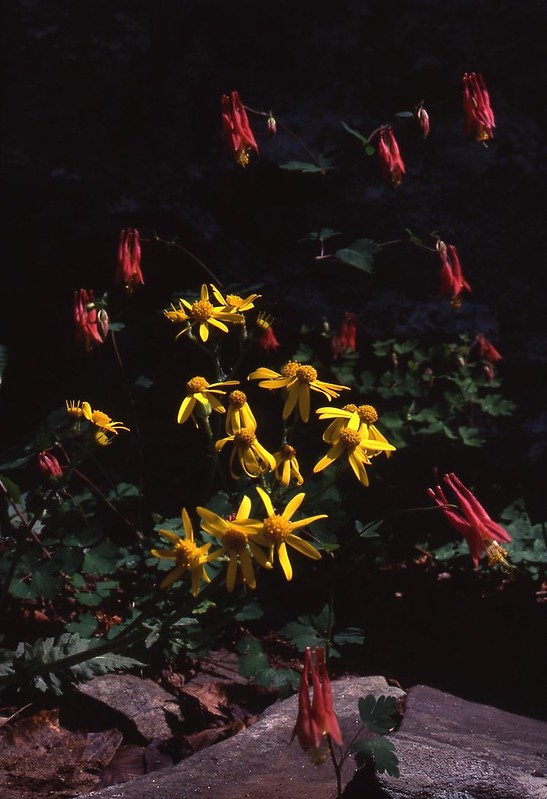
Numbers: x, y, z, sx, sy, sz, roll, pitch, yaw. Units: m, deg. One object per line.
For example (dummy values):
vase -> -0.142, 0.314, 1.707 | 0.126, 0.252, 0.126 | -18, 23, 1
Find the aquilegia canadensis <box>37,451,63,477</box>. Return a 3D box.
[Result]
aquilegia canadensis -> -1.046, 0.307, 3.701 | 0.102, 0.123, 0.184 | -2, -4, -4

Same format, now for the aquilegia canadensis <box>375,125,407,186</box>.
aquilegia canadensis -> 0.574, -1.182, 3.864 | 0.102, 0.259, 0.193 | -3, -4, 13

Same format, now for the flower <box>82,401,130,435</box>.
flower -> -0.860, 0.096, 4.065 | 0.150, 0.053, 0.149 | 25, -12, 41

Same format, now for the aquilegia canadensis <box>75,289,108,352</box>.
aquilegia canadensis -> -0.879, -0.390, 3.815 | 0.142, 0.304, 0.370 | -2, -4, -11

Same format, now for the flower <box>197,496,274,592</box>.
flower -> -0.133, 0.489, 2.701 | 0.241, 0.318, 0.250 | -2, -4, -2

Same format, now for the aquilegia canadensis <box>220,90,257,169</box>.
aquilegia canadensis -> -0.167, -1.306, 3.825 | 0.135, 0.357, 0.250 | -4, -4, 24
